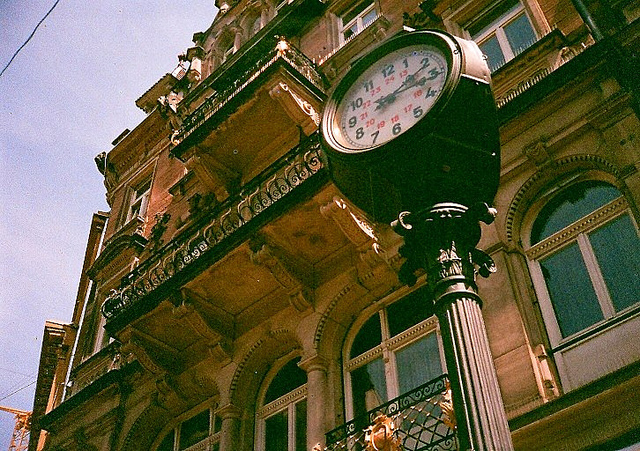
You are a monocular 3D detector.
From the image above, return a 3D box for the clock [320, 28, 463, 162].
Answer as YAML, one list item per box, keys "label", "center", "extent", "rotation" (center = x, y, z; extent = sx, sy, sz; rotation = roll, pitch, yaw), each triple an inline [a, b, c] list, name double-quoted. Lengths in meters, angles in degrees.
- label: "clock"
  center: [1.002, -1.702, 9.734]
  extent: [2.142, 2.335, 0.310]
  rotation: [-25, -52, 25]

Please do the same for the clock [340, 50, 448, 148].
- label: "clock"
  center: [1.046, -1.655, 9.562]
  extent: [1.253, 1.249, 0.137]
  rotation: [-36, -56, 20]
